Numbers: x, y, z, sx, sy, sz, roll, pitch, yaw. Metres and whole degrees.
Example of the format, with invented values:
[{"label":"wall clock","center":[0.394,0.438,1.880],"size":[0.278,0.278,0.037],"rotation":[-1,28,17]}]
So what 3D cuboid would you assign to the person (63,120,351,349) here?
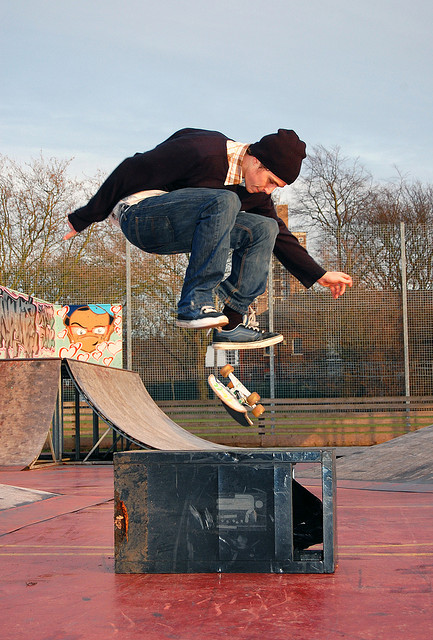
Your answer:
[{"label":"person","center":[-0.007,-0.401,3.385],"size":[1.313,0.851,0.644],"rotation":[10,-2,3]}]

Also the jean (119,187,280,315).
[{"label":"jean","center":[-0.073,-0.277,3.395],"size":[0.542,0.521,0.567],"rotation":[-2,-5,28]}]

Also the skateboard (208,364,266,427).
[{"label":"skateboard","center":[0.091,0.356,3.371],"size":[0.213,0.057,0.217],"rotation":[14,15,20]}]
